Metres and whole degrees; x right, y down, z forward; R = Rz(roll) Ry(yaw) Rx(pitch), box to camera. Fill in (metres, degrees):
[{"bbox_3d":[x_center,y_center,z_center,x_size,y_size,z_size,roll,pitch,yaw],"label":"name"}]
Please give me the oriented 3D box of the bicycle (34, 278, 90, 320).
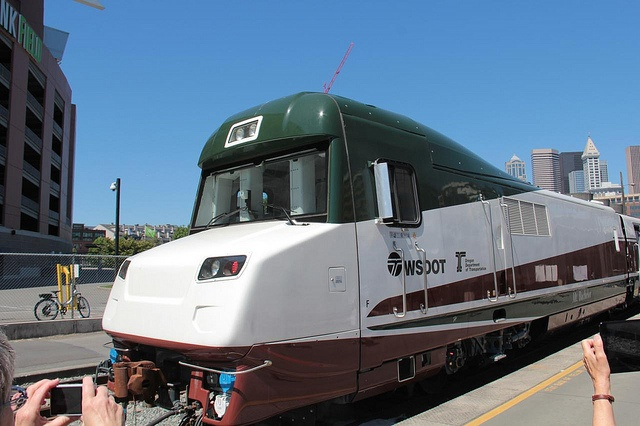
[{"bbox_3d":[-8.880,3.078,14.501,1.548,1.168,2.649,1,-13,-32],"label":"bicycle"}]
